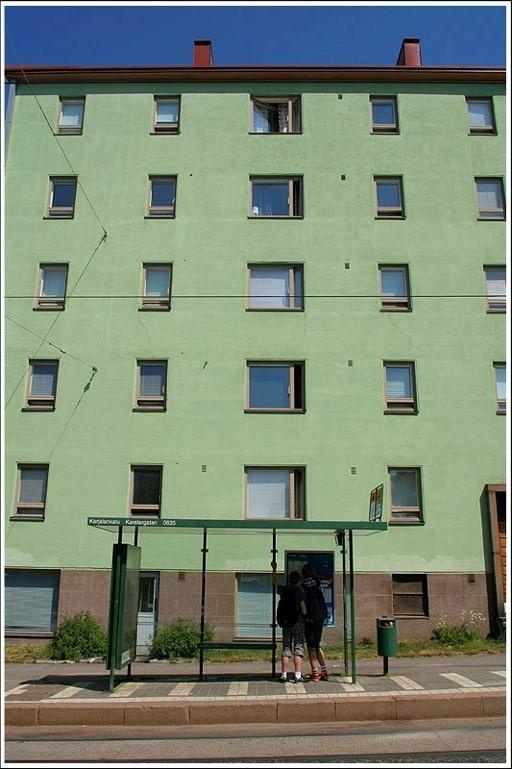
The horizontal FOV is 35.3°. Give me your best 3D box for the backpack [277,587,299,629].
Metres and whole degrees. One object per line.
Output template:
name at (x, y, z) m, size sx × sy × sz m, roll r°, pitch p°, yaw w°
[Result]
backpack at (0.466, 3.530, 12.717) m, size 0.271 × 0.650 × 0.360 m, roll 9°, pitch -15°, yaw -30°
